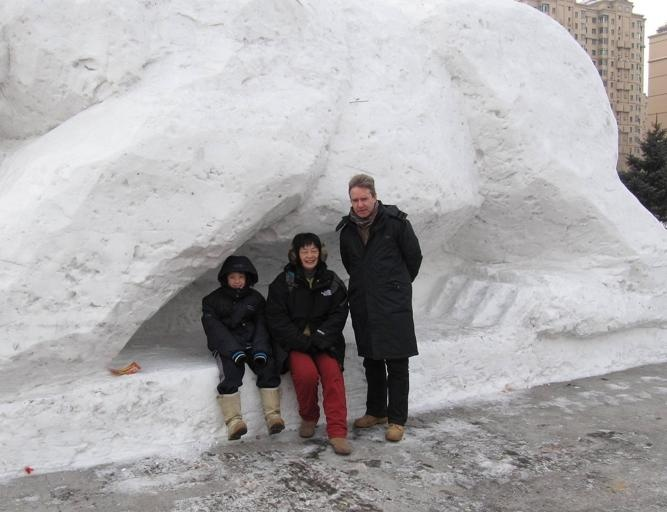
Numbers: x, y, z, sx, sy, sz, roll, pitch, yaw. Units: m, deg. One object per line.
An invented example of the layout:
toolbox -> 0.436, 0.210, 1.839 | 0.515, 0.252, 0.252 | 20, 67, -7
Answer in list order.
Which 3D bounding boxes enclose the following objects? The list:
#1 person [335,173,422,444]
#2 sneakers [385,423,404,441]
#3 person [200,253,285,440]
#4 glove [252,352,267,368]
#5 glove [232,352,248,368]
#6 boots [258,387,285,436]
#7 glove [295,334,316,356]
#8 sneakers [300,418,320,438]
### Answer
person -> 0.286, 0.333, 4.094 | 0.559, 1.710, 0.520 | 1, 12, 7
sneakers -> 0.402, 1.139, 4.089 | 0.119, 0.094, 0.205 | 1, 11, 10
person -> -0.754, 0.514, 4.207 | 0.496, 1.323, 0.643 | -6, -34, -19
glove -> -0.490, 0.682, 4.096 | 0.092, 0.093, 0.111 | 37, 0, 10
glove -> -0.627, 0.678, 4.078 | 0.086, 0.098, 0.107 | 13, 1, -39
boots -> -0.416, 0.997, 4.067 | 0.147, 0.259, 0.357 | -2, 11, -8
glove -> -0.188, 0.580, 4.104 | 0.133, 0.119, 0.053 | 1, -10, 3
sneakers -> -0.174, 1.122, 4.169 | 0.124, 0.119, 0.239 | -1, 11, -2
